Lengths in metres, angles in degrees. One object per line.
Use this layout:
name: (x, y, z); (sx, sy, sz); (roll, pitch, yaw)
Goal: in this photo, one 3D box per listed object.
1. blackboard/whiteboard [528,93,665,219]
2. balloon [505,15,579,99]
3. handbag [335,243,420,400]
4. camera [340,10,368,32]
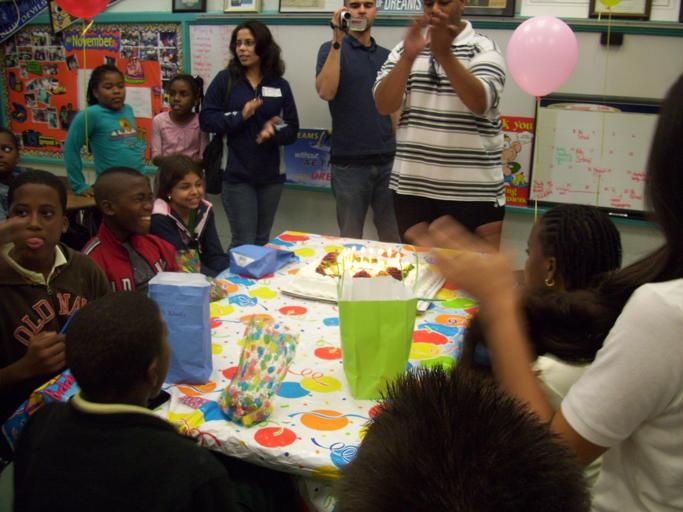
blackboard/whiteboard: (1.497, -0.628, 3.051); (0.871, 0.773, 0.295); (6, 11, 19)
balloon: (1.024, -1.039, 2.890); (0.391, 0.498, 0.401); (6, -2, 11)
handbag: (0.099, 0.217, 1.525); (0.289, 0.551, 0.314); (0, 0, -6)
camera: (0.083, -1.468, 3.284); (0.160, 0.106, 0.217); (5, 14, 7)
